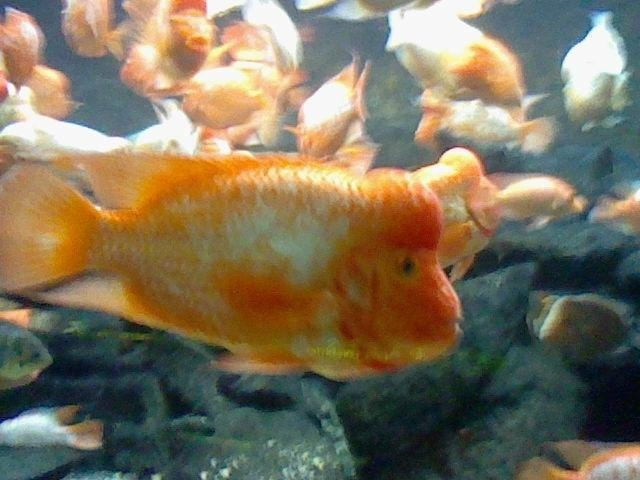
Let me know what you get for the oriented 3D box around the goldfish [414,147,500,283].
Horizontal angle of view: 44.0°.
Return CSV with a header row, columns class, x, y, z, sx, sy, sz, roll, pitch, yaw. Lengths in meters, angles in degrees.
class,x,y,z,sx,sy,sz,roll,pitch,yaw
goldfish,0.153,-0.027,0.942,0.104,0.117,0.141,-11,-64,-20
